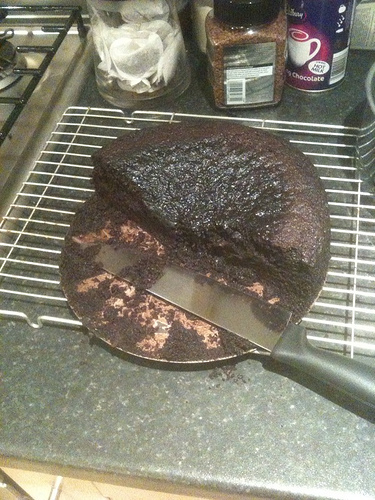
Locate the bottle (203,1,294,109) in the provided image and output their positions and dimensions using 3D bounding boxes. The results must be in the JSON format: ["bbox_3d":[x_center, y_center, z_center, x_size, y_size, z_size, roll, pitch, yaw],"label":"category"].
[{"bbox_3d":[0.102,-0.323,0.808,0.157,0.195,0.111,-3,52,3],"label":"bottle"}]
